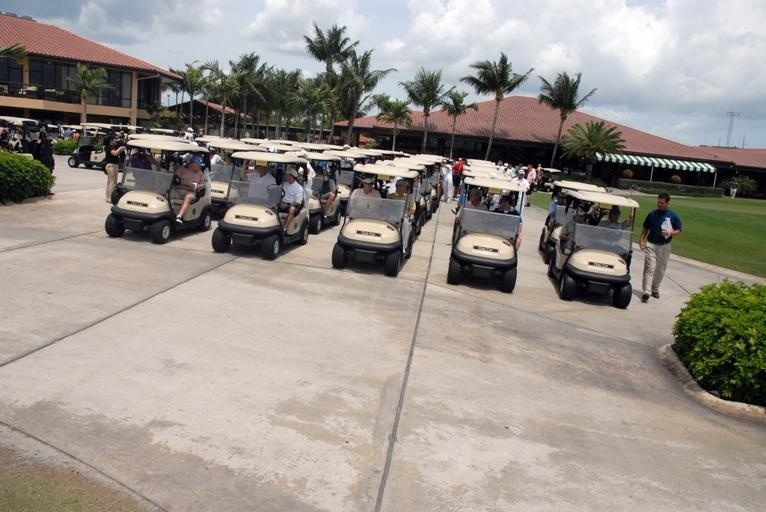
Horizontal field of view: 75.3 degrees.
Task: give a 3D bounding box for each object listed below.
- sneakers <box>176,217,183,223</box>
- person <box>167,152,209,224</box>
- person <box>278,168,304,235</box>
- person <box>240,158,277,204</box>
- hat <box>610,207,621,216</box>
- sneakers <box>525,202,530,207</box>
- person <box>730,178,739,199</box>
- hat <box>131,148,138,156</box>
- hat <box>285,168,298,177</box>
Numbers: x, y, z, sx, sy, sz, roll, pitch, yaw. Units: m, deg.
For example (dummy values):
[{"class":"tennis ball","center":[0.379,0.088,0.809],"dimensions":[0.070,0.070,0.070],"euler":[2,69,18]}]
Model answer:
[{"class":"sneakers","center":[-4.680,-0.878,11.389],"dimensions":[0.061,0.179,0.217],"euler":[8,10,5]},{"class":"person","center":[-4.647,-1.675,11.816],"dimensions":[0.543,1.588,1.154],"euler":[7,10,-3]},{"class":"person","center":[-2.144,-1.373,11.638],"dimensions":[0.524,1.413,0.882],"euler":[6,10,-7]},{"class":"person","center":[-2.941,-1.731,11.812],"dimensions":[0.794,1.586,0.377],"euler":[-7,51,-23]},{"class":"hat","center":[5.086,-1.052,10.788],"dimensions":[0.202,0.184,0.151],"euler":[29,-28,-29]},{"class":"sneakers","center":[7.494,-2.769,25.600],"dimensions":[0.139,0.199,0.465],"euler":[-3,-2,12]},{"class":"person","center":[32.128,-6.399,45.266],"dimensions":[0.710,1.574,2.677],"euler":[14,12,33]},{"class":"hat","center":[-5.834,-2.506,11.595],"dimensions":[0.219,0.187,0.129],"euler":[14,12,30]},{"class":"hat","center":[-2.157,-2.053,11.762],"dimensions":[0.260,0.145,0.192],"euler":[29,19,19]}]
